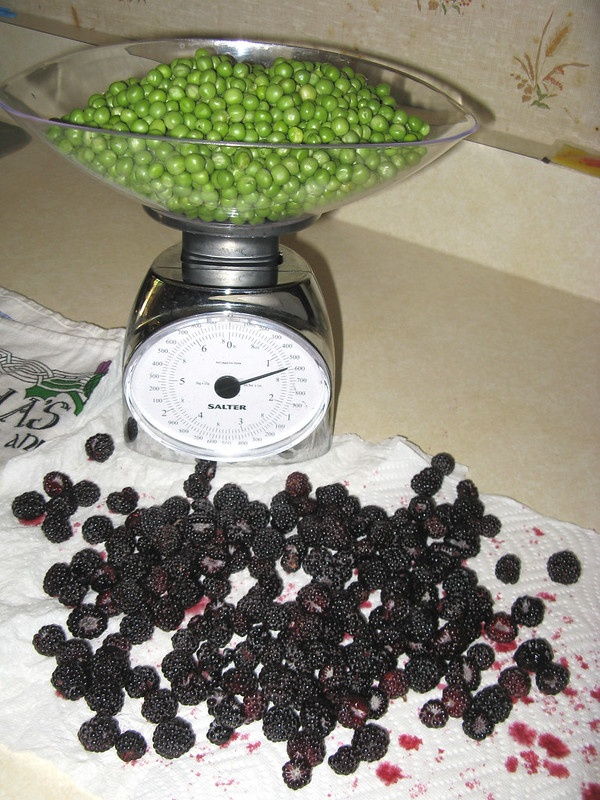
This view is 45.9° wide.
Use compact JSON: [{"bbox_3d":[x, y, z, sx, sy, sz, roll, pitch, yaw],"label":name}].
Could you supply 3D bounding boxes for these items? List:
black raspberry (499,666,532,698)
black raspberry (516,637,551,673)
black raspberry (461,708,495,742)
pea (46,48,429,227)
[{"bbox_3d":[0.277,0.359,0.911,0.038,0.025,0.044,5,28,-1],"label":"black raspberry"},{"bbox_3d":[0.303,0.330,0.921,0.047,0.036,0.024,-14,-7,5],"label":"black raspberry"},{"bbox_3d":[0.215,0.392,0.863,0.035,0.023,0.034,-14,34,-32],"label":"black raspberry"},{"bbox_3d":[-0.056,-0.285,0.793,0.428,0.172,0.271,-4,30,-17],"label":"pea"}]
